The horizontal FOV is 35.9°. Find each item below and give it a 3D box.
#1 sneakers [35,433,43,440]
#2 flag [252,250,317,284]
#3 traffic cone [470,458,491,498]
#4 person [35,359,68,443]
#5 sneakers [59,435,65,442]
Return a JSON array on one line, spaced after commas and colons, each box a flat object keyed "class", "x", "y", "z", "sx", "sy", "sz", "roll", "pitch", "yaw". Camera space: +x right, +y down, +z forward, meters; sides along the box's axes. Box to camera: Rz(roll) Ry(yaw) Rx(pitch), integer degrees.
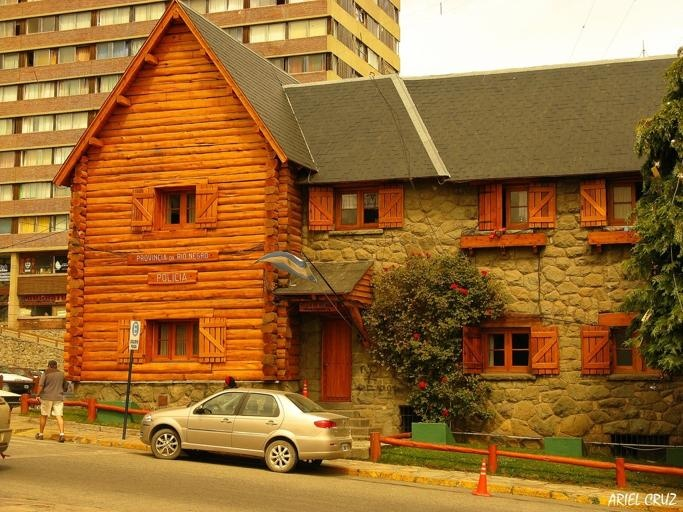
[{"class": "sneakers", "x": -9.556, "y": 5.704, "z": 33.292, "sx": 0.231, "sy": 0.195, "sz": 0.175, "roll": -1, "pitch": 0, "yaw": -20}, {"class": "flag", "x": -1.884, "y": 0.336, "z": 36.599, "sx": 2.060, "sy": 1.013, "sz": 1.149, "roll": 4, "pitch": 7, "yaw": -1}, {"class": "traffic cone", "x": 3.870, "y": 6.220, "z": 29.393, "sx": 0.820, "sy": 1.057, "sz": 0.811, "roll": 3, "pitch": -11, "yaw": -7}, {"class": "person", "x": -9.184, "y": 4.549, "z": 33.397, "sx": 0.910, "sy": 2.561, "sz": 1.340, "roll": 2, "pitch": 8, "yaw": -15}, {"class": "sneakers", "x": -8.782, "y": 5.729, "z": 33.058, "sx": 0.108, "sy": 0.289, "sz": 0.196, "roll": 2, "pitch": 34, "yaw": -23}]
